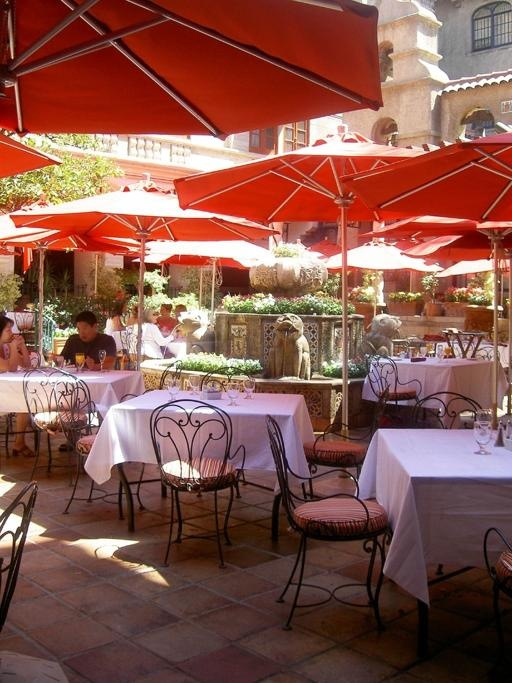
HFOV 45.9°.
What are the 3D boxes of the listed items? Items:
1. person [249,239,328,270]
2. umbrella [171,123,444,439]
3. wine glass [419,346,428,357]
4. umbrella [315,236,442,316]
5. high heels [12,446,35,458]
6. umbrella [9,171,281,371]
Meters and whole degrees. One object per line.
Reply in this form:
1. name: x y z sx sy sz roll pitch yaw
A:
1. person: 0.496 -1.293 9.139 0.756 0.251 0.681 3 8 32
2. umbrella: 0.432 -0.548 5.887 3.082 2.517 2.883 -4 4 -2
3. wine glass: 2.752 0.178 10.006 0.152 0.153 0.145 -2 9 -33
4. umbrella: 2.638 -1.585 12.520 2.342 1.418 2.074 0 6 0
5. high heels: -2.592 1.246 6.790 0.233 0.084 0.106 -3 -3 29
6. umbrella: -1.569 -0.572 7.037 2.508 1.651 2.701 -4 -7 39
